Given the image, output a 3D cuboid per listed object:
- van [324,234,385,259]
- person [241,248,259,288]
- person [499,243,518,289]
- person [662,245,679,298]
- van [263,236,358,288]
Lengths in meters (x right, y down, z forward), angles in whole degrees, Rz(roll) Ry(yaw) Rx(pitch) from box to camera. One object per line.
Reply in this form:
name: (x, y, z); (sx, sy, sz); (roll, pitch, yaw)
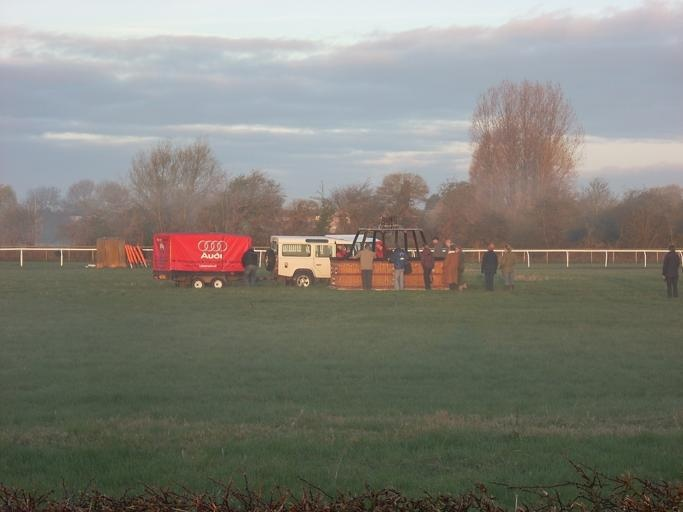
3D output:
van: (0.684, -0.278, 66.858); (1.966, 1.138, 1.410); (-2, 5, 0)
person: (-3.801, 0.398, 63.748); (0.476, 1.426, 1.014); (5, 1, -12)
person: (7.092, 0.420, 61.219); (0.508, 1.807, 1.103); (0, 3, 6)
person: (13.352, 0.541, 58.295); (0.613, 2.054, 1.246); (0, 3, 15)
van: (-1.603, 0.168, 64.481); (3.257, 1.673, 1.947); (-2, 4, -4)
